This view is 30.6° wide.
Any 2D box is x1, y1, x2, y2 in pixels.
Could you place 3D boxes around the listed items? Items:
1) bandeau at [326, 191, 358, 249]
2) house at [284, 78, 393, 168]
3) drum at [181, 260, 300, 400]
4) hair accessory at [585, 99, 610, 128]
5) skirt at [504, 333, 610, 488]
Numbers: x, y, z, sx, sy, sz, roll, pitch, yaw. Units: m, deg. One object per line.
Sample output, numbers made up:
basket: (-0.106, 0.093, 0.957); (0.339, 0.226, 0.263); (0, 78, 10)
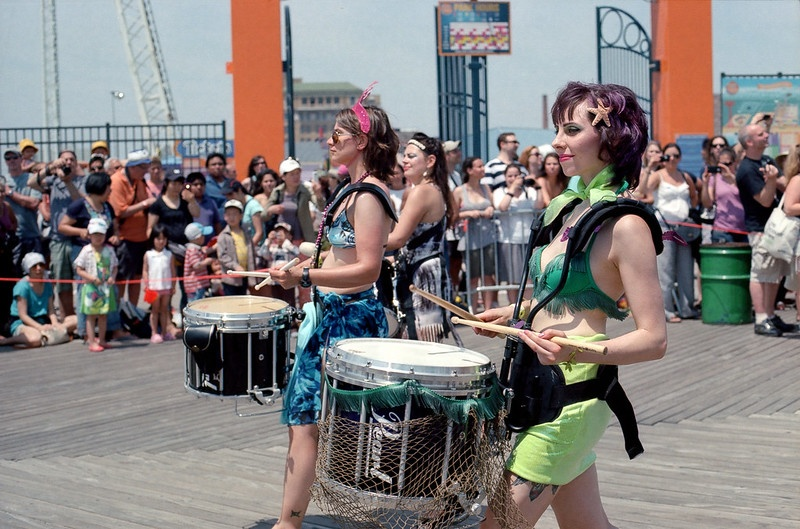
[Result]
bandeau: (-0.519, -0.300, 12.793); (0.386, 0.407, 0.291); (1, 4, -3)
house: (-4.615, -9.490, 97.988); (5.438, 5.618, 3.562); (1, -4, 4)
drum: (-1.445, 0.781, 13.427); (1.017, 0.823, 1.091); (-2, 8, 0)
hair accessory: (1.600, -1.236, 11.999); (0.203, 0.224, 0.025); (-6, 6, -3)
skirt: (1.306, 1.189, 12.241); (0.618, 1.233, 0.866); (4, 7, -30)
